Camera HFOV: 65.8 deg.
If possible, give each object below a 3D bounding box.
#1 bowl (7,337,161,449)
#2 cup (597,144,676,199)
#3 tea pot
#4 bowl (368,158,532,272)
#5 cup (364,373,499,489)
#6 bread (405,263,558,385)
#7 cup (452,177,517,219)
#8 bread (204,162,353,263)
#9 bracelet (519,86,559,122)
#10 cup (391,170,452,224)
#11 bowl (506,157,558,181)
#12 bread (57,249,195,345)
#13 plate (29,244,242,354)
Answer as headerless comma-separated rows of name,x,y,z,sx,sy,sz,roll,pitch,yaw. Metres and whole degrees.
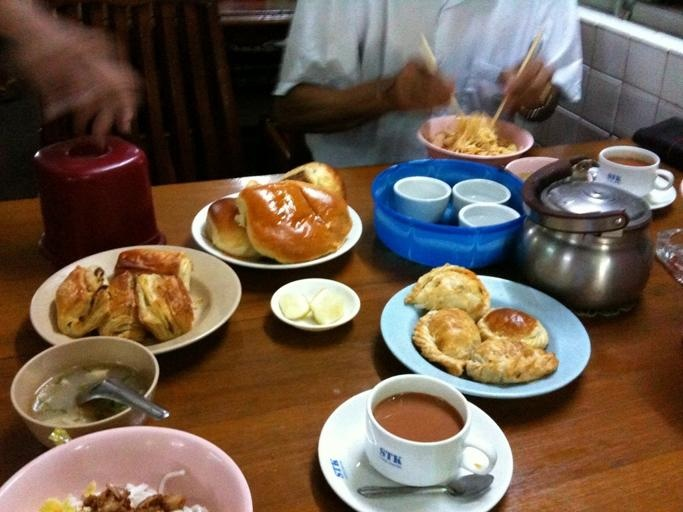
bowl,-0.367,0.182,0.745,0.170,0.085,0.171,3,35,-2
cup,0.724,-0.199,1.303,0.125,0.104,0.164,-27,38,-28
tea pot,0.481,-0.042,1.028,0.241,0.232,0.236,-10,32,6
bowl,0.185,-0.084,1.190,0.275,0.102,0.273,8,30,-5
cup,0.108,0.229,0.708,0.162,0.084,0.122,17,36,19
bread,0.225,0.114,0.871,0.196,0.048,0.171,10,31,-3
cup,0.316,-0.151,1.163,0.088,0.044,0.092,-1,38,1
bread,-0.095,-0.095,1.100,0.220,0.078,0.224,34,47,25
bracelet,0.706,-0.546,1.903,0.122,0.029,0.113,-57,25,-7
cup,0.178,-0.131,1.171,0.115,0.075,0.117,2,29,-1
bowl,0.438,-0.203,1.224,0.095,0.033,0.094,-17,30,10
bread,-0.353,0.024,0.899,0.170,0.062,0.172,16,27,15
plate,-0.376,0.036,1.029,0.294,0.301,0.039,-26,56,27
